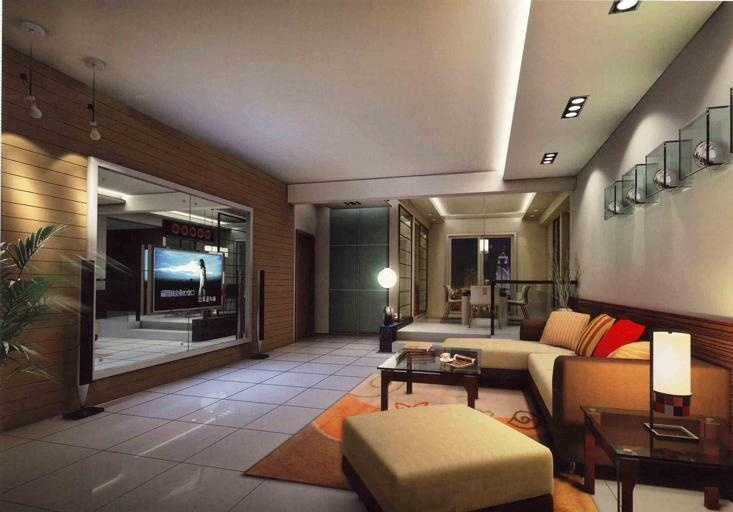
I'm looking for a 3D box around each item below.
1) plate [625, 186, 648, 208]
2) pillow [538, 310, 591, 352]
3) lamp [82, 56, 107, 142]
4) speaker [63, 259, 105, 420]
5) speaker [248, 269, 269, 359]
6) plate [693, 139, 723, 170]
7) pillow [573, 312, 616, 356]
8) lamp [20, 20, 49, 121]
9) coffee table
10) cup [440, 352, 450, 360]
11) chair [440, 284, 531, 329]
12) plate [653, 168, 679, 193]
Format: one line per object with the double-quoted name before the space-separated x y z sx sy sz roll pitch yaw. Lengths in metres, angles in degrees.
"plate" 2.629 -0.600 4.767 0.097 0.151 0.177 -10 35 -21
"pillow" 2.299 0.888 5.645 0.148 0.272 0.385 19 -7 -13
"lamp" -2.761 -1.590 4.983 0.195 0.778 0.573 -6 12 -29
"speaker" -2.833 0.812 4.907 0.382 1.532 0.299 -8 -14 9
"speaker" -1.658 0.857 7.258 0.344 1.292 0.301 -3 -5 -12
"plate" 2.626 -0.799 3.759 0.071 0.202 0.211 -5 11 -26
"pillow" 2.289 0.793 4.894 0.131 0.432 0.437 23 5 16
"lamp" -3.080 -1.716 4.522 0.192 0.813 0.484 -8 13 -38
"coffee table" 0.722 1.323 4.960 0.883 0.438 0.898 2 -4 11
"cup" 0.806 1.044 5.012 0.079 0.053 0.058 -2 -3 10
"chair" 2.481 0.941 9.751 1.231 0.586 1.230 -1 -1 18
"plate" 2.589 -0.676 4.200 0.058 0.172 0.173 -9 -12 -37
